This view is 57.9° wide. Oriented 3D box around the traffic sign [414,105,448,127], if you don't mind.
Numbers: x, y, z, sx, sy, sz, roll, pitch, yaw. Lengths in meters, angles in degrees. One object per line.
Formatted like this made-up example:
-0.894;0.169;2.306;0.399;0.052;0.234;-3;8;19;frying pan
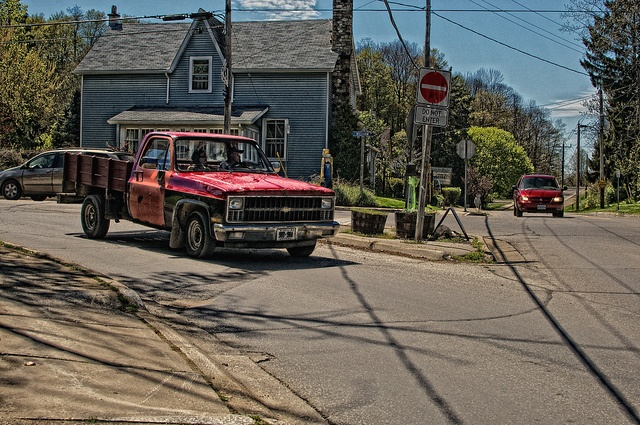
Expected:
2.588;-2.231;13.419;0.897;0.455;0.253;1;5;-16;traffic sign

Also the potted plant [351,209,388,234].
1.287;0.242;15.338;0.731;0.530;0.659;12;1;20;potted plant

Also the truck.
-2.887;-0.395;12.584;2.739;2.132;5.197;2;0;-43;truck

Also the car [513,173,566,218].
10.235;-0.721;27.153;2.140;1.981;2.361;4;5;18;car

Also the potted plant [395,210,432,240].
2.383;0.306;14.643;0.693;0.587;0.711;2;1;7;potted plant

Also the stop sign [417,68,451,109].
2.657;-2.898;13.461;0.877;1.005;0.032;10;46;13;stop sign
